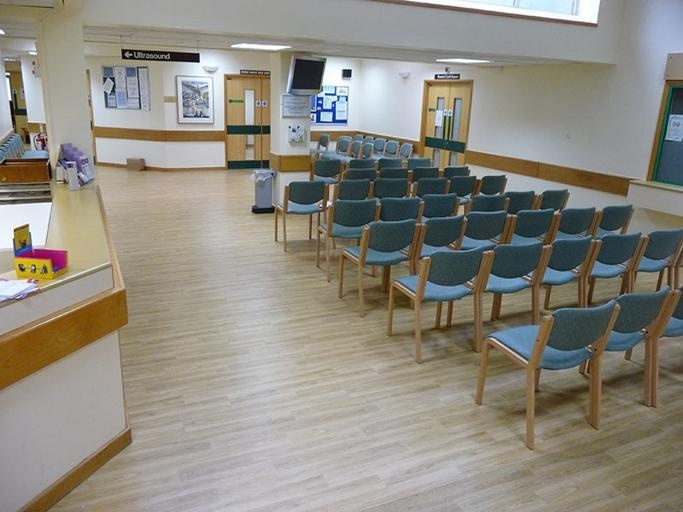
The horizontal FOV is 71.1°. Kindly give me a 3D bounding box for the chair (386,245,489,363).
[{"bbox_3d":[0.936,0.486,4.594,0.739,1.104,0.801,-10,25,-21],"label":"chair"}]

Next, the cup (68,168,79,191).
[{"bbox_3d":[-2.928,-0.844,5.195,0.104,0.237,0.221,-10,23,-28],"label":"cup"}]

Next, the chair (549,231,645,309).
[{"bbox_3d":[2.778,0.175,5.206,0.837,0.905,0.874,-16,18,-39],"label":"chair"}]

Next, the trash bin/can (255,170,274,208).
[{"bbox_3d":[-1.448,-1.210,8.729,0.510,0.651,0.434,-4,16,-13],"label":"trash bin/can"}]

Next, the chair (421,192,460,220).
[{"bbox_3d":[1.237,-0.686,6.170,0.357,0.461,0.390,-5,36,-7],"label":"chair"}]

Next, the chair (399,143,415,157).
[{"bbox_3d":[1.594,-2.555,11.562,0.299,0.308,0.387,-3,20,-14],"label":"chair"}]

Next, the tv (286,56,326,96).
[{"bbox_3d":[-0.555,-3.046,8.129,0.778,0.629,0.083,19,19,35],"label":"tv"}]

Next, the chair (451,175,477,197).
[{"bbox_3d":[1.832,-1.049,7.301,0.577,0.344,0.218,-11,24,-32],"label":"chair"}]

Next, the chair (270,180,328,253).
[{"bbox_3d":[-0.559,-0.562,6.472,0.636,0.830,0.643,6,15,-11],"label":"chair"}]

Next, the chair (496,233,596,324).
[{"bbox_3d":[2.241,0.242,4.880,0.751,0.759,0.711,-3,1,1],"label":"chair"}]

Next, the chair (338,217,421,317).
[{"bbox_3d":[0.429,0.120,5.247,0.758,1.082,0.783,-10,29,-20],"label":"chair"}]

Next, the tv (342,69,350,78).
[{"bbox_3d":[0.121,-5.010,13.116,0.234,0.189,0.115,-1,9,-27],"label":"tv"}]

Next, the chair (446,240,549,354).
[{"bbox_3d":[1.534,0.295,4.773,0.818,0.968,0.764,-2,14,-6],"label":"chair"}]

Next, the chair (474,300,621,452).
[{"bbox_3d":[1.582,0.754,3.616,0.828,1.024,0.716,-9,23,-26],"label":"chair"}]

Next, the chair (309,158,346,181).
[{"bbox_3d":[-0.237,-1.459,8.251,0.537,0.402,0.875,1,19,-3],"label":"chair"}]

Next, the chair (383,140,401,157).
[{"bbox_3d":[1.277,-2.621,11.762,0.272,0.383,0.596,-5,21,-17],"label":"chair"}]

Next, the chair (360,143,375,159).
[{"bbox_3d":[0.626,-2.491,11.303,0.276,0.309,0.531,2,20,2],"label":"chair"}]

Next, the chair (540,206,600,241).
[{"bbox_3d":[2.682,-0.363,5.579,0.317,0.518,0.371,-5,31,-2],"label":"chair"}]
